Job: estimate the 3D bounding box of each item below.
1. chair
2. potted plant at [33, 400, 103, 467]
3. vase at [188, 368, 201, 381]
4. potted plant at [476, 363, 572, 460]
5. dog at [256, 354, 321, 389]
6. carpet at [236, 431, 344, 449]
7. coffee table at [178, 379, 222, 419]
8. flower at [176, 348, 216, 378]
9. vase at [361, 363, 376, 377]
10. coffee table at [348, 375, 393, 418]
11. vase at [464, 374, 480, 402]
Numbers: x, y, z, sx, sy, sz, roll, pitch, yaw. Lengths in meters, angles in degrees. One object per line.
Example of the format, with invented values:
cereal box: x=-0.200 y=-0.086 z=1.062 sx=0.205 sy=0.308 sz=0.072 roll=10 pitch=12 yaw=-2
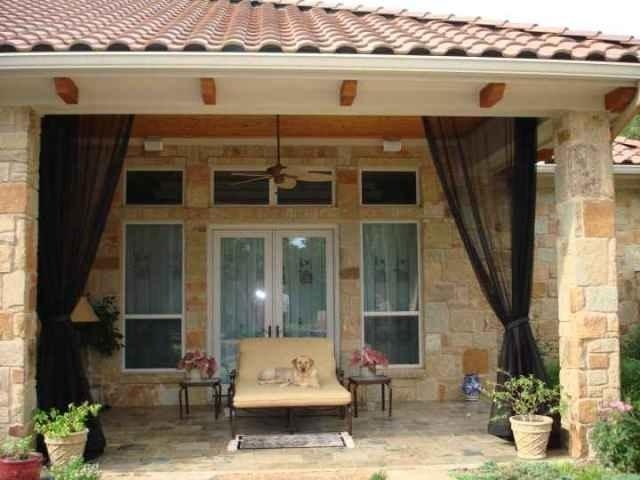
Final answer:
chair: x=-0.408 y=1.680 z=9.270 sx=1.806 sy=1.030 sz=1.265 roll=0 pitch=-5 yaw=-7
potted plant: x=-2.513 y=1.886 z=7.666 sx=0.662 sy=0.600 sz=0.593 roll=6 pitch=-2 yaw=-16
vase: x=-1.586 y=1.737 z=9.789 sx=0.156 sy=0.154 sz=0.147 roll=1 pitch=-6 yaw=-3
potted plant: x=2.195 y=1.832 z=8.296 sx=1.093 sy=1.084 sz=0.795 roll=1 pitch=-13 yaw=-6
dog: x=-0.251 y=1.595 z=9.367 sx=0.692 sy=0.363 sz=0.857 roll=2 pitch=0 yaw=-40
carpet: x=-0.318 y=2.253 z=8.563 sx=1.219 sy=0.022 sz=0.557 roll=-1 pitch=3 yaw=-5
coffee table: x=-1.533 y=2.001 z=9.790 sx=0.572 sy=0.505 sz=0.480 roll=0 pitch=-4 yaw=-5
flower: x=-1.593 y=1.617 z=9.918 sx=0.479 sy=0.400 sz=0.427 roll=-1 pitch=3 yaw=-8
vase: x=0.666 y=1.745 z=10.215 sx=0.239 sy=0.222 sz=0.215 roll=0 pitch=-7 yaw=0
coffee table: x=0.685 y=1.973 z=9.842 sx=0.591 sy=0.509 sz=0.528 roll=3 pitch=-1 yaw=-6
vase: x=2.072 y=1.992 z=10.317 sx=0.336 sy=0.372 sz=0.310 roll=-2 pitch=-7 yaw=14
